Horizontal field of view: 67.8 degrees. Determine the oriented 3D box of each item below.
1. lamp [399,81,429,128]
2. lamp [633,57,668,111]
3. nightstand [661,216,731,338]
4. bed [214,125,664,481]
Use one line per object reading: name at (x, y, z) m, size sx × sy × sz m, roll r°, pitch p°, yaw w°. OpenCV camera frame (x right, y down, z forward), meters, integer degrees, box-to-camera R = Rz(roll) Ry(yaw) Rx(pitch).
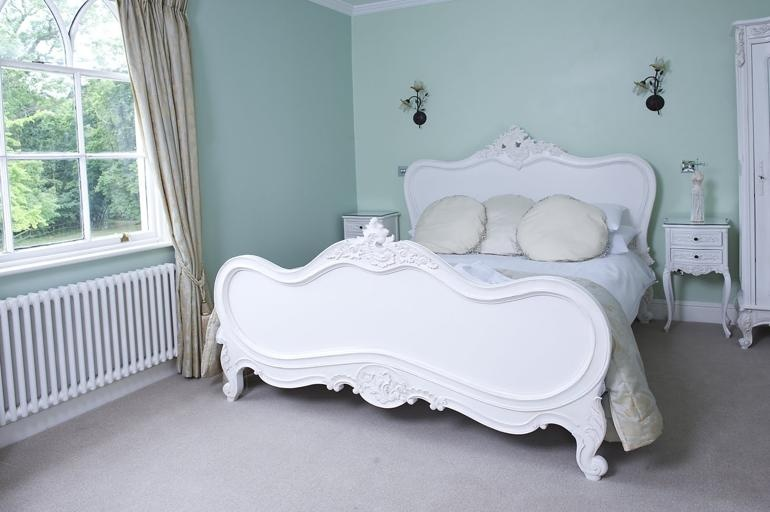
lamp at (0.359, -1.577, 6.081) m, size 0.327 × 0.440 × 0.250 m, roll -3°, pitch 10°, yaw -28°
lamp at (2.413, -1.547, 5.267) m, size 0.297 × 0.475 × 0.099 m, roll 3°, pitch 14°, yaw 27°
nightstand at (2.766, 0.155, 5.124) m, size 0.563 × 1.004 × 0.495 m, roll 4°, pitch 15°, yaw 30°
bed at (0.776, 0.488, 4.706) m, size 2.711 × 2.041 × 2.706 m, roll 1°, pitch 1°, yaw 25°
